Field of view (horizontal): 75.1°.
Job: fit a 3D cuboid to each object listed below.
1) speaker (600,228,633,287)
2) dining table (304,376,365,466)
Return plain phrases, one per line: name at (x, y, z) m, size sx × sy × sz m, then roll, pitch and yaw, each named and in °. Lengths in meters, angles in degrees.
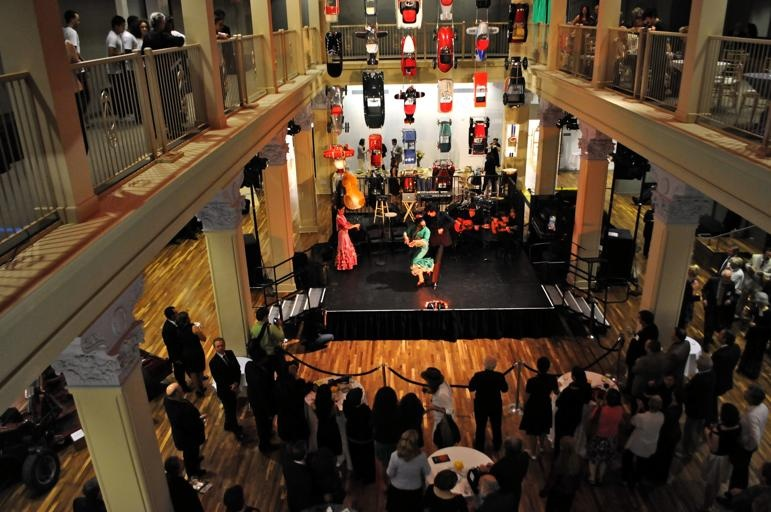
speaker at (5.932, 0.073, 12.835) m, size 0.794 × 1.581 × 0.838 m, roll -3°, pitch 26°, yaw 4°
dining table at (-0.768, 2.578, 7.611) m, size 0.836 × 1.056 × 0.860 m, roll 18°, pitch 39°, yaw 25°
